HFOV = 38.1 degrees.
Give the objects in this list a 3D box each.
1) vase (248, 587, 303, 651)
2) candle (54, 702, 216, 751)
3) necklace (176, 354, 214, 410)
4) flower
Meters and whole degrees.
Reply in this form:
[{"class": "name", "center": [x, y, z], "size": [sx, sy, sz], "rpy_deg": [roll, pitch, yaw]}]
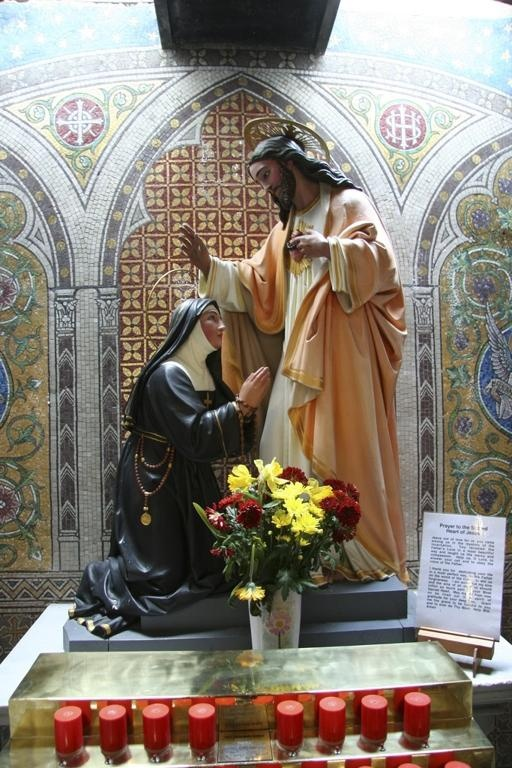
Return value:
[{"class": "vase", "center": [0.037, 0.793, 2.553], "size": [0.253, 0.249, 0.217], "rpy_deg": [0, -10, -3]}, {"class": "candle", "center": [-0.286, 0.822, 1.770], "size": [0.375, 0.104, 0.088], "rpy_deg": [-1, -3, -2]}, {"class": "necklace", "center": [-0.252, -0.049, 3.242], "size": [0.090, 0.136, 0.123], "rpy_deg": [14, 19, 23]}, {"class": "flower", "center": [-0.009, 0.471, 2.490], "size": [0.541, 0.437, 0.557], "rpy_deg": [3, -1, -14]}]
